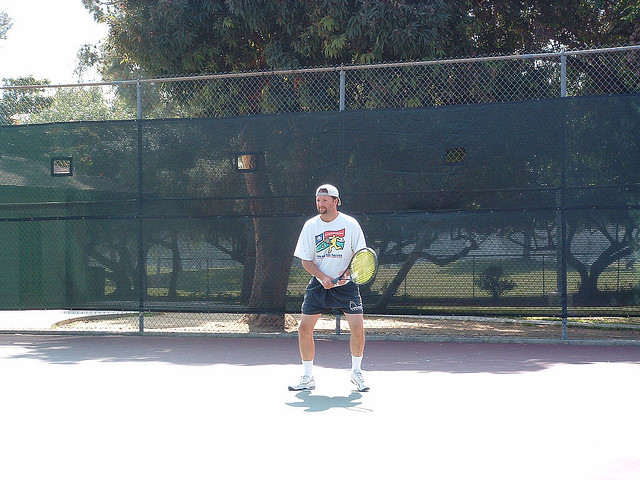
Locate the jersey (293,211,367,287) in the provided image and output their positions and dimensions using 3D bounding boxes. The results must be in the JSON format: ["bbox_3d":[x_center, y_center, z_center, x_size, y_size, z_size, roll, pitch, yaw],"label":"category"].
[{"bbox_3d":[0.180,0.106,10.560,0.959,0.960,0.392,4,20,23],"label":"jersey"}]

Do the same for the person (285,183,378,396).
[{"bbox_3d":[0.163,0.577,10.358,0.972,2.436,0.475,0,7,3],"label":"person"}]

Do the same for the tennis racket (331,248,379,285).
[{"bbox_3d":[0.419,0.320,10.366,0.506,0.455,0.141,1,7,7],"label":"tennis racket"}]

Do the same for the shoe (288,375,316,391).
[{"bbox_3d":[-0.217,1.704,10.319,0.367,0.186,0.137,-1,-11,-4],"label":"shoe"}]

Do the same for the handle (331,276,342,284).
[{"bbox_3d":[0.194,0.485,10.399,0.140,0.058,0.048,-32,-9,-3],"label":"handle"}]
